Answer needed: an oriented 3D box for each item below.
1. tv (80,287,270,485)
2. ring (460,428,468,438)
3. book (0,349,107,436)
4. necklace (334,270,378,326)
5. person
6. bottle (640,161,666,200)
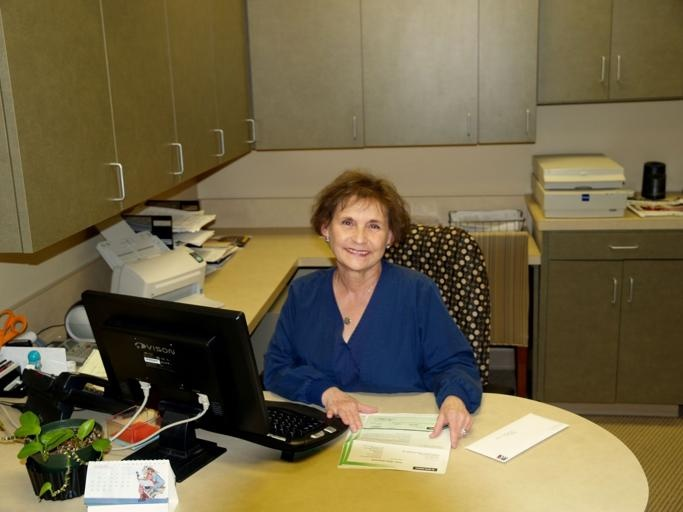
[{"bbox_3d":[-0.502,0.400,1.625,0.390,0.382,0.187,8,23,21],"label":"tv"},{"bbox_3d":[0.368,0.534,1.688,0.021,0.023,0.005,2,-3,-32],"label":"ring"},{"bbox_3d":[-0.925,0.443,1.784,0.453,0.201,0.146,10,17,15],"label":"book"},{"bbox_3d":[0.043,0.141,2.006,0.111,0.238,0.048,10,5,9],"label":"necklace"},{"bbox_3d":[0.088,0.233,2.169,0.899,1.130,0.766,-2,3,1],"label":"person"},{"bbox_3d":[1.916,-0.463,3.435,0.121,0.234,0.214,6,12,35],"label":"bottle"}]
